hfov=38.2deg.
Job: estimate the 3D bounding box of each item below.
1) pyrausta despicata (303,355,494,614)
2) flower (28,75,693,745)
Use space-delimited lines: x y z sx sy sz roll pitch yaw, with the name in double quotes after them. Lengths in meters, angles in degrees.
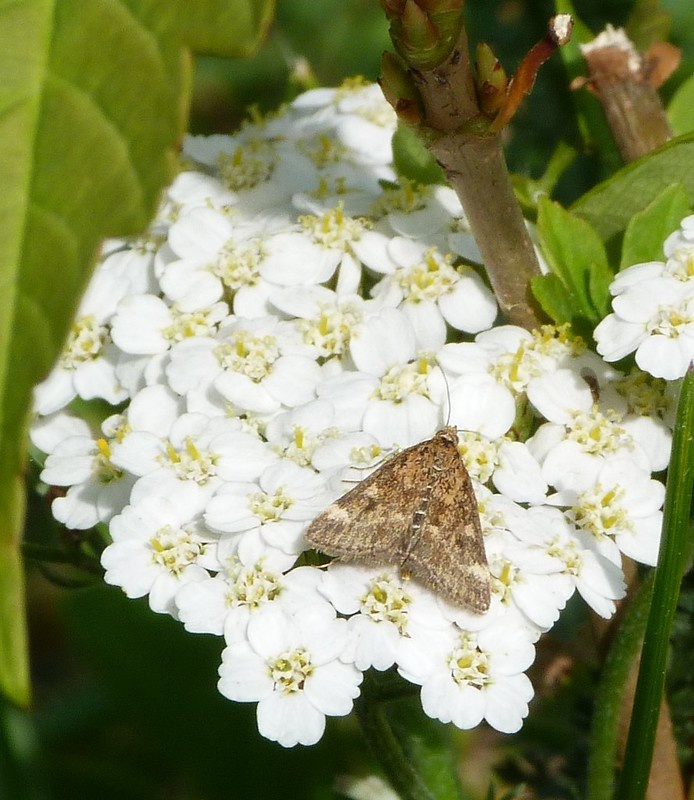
0.069 0.086 0.838 0.152 0.112 0.150 24 80 5 "pyrausta despicata"
0.046 0.060 1.174 0.651 0.222 0.656 32 66 12 "flower"
